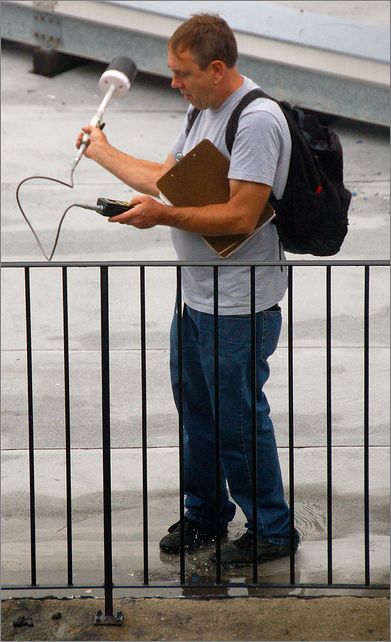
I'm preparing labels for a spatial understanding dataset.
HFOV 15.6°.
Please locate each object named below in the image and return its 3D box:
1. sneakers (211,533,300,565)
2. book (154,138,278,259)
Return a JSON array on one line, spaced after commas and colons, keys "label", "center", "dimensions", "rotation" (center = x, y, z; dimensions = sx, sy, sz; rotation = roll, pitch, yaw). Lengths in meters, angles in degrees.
[{"label": "sneakers", "center": [0.281, 1.079, 6.883], "dimensions": [0.415, 0.205, 0.168], "rotation": [-1, -6, -4]}, {"label": "book", "center": [0.082, -0.574, 6.530], "dimensions": [0.492, 0.523, 0.118], "rotation": [-41, 1, 31]}]
